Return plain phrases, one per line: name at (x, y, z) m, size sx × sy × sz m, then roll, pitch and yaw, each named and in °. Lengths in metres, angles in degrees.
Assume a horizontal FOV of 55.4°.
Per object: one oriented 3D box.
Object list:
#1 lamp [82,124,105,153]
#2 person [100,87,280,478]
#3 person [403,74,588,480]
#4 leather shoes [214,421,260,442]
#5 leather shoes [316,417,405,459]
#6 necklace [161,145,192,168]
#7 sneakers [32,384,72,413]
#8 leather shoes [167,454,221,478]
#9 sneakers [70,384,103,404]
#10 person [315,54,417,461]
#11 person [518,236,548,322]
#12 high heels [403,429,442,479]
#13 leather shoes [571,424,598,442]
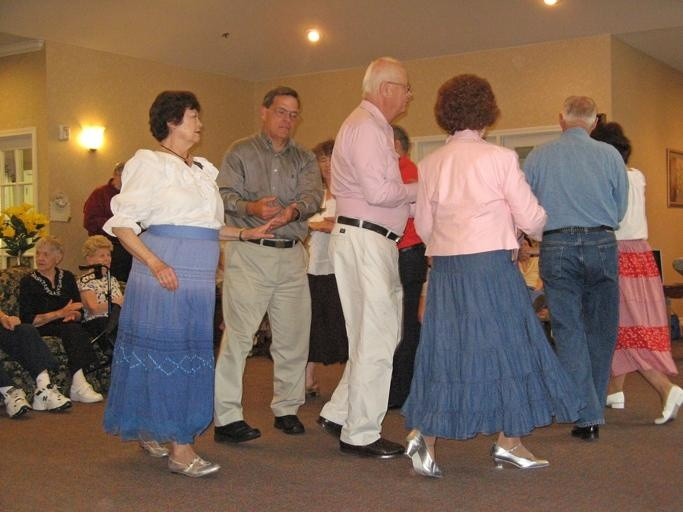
lamp at (-3.217, -1.542, 8.622) m, size 0.310 × 0.332 × 0.306 m, roll 0°, pitch -8°, yaw -1°
person at (-0.920, 0.132, 3.425) m, size 0.642 × 2.021 × 0.331 m, roll -1°, pitch 2°, yaw -20°
person at (0.744, 0.265, 3.401) m, size 0.846 × 1.727 × 0.337 m, roll -1°, pitch 2°, yaw 4°
leather shoes at (-0.632, 1.060, 3.982) m, size 0.304 × 0.128 × 0.120 m, roll -7°, pitch -9°, yaw 28°
leather shoes at (0.111, 1.049, 3.750) m, size 0.502 × 0.214 × 0.163 m, roll -1°, pitch -1°, yaw 2°
necklace at (-0.879, -0.541, 3.501) m, size 0.130 × 0.030 × 0.130 m, roll 27°, pitch 12°, yaw -1°
sneakers at (-2.167, 1.032, 4.809) m, size 0.388 × 0.185 × 0.160 m, roll 0°, pitch 2°, yaw 25°
leather shoes at (-0.768, 1.100, 3.449) m, size 0.219 × 0.084 × 0.112 m, roll -2°, pitch -6°, yaw 6°
sneakers at (-1.990, 1.041, 5.061) m, size 0.263 × 0.153 × 0.124 m, roll 6°, pitch 1°, yaw 17°
person at (0.189, -0.004, 3.698) m, size 0.490 × 2.241 × 0.341 m, roll -1°, pitch 2°, yaw -1°
person at (1.938, 0.239, 6.782) m, size 0.278 × 0.954 × 0.256 m, roll 2°, pitch -8°, yaw -17°
high heels at (0.442, 1.021, 3.353) m, size 0.104 × 0.149 × 0.347 m, roll -13°, pitch -43°, yaw 31°
leather shoes at (1.474, 1.055, 3.938) m, size 0.066 × 0.083 × 0.181 m, roll 1°, pitch 1°, yaw -41°
